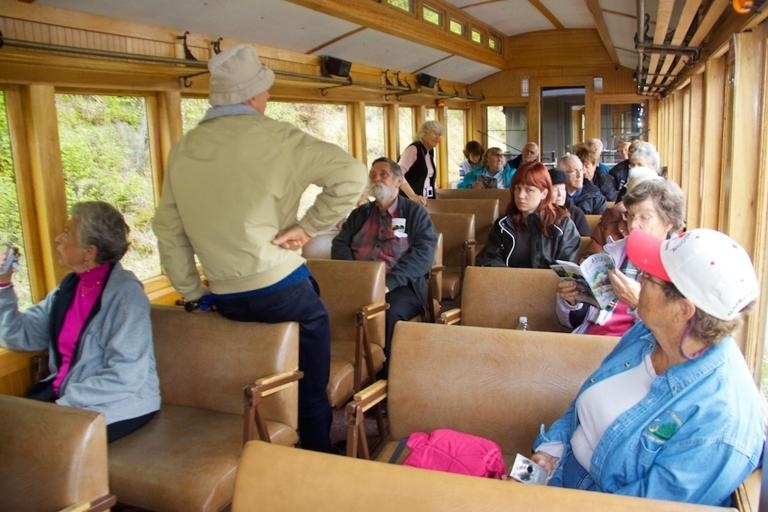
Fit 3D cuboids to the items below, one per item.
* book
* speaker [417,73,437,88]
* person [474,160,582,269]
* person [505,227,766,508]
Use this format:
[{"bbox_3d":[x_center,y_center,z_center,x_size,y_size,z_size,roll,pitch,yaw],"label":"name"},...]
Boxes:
[{"bbox_3d":[1.061,0.115,2.908,0.369,0.311,0.135,10,52,47],"label":"book"},{"bbox_3d":[0.712,-2.898,9.112,0.085,0.233,0.382,30,18,34],"label":"speaker"},{"bbox_3d":[1.149,-0.284,4.489,0.735,0.944,0.862,-11,15,-35],"label":"person"},{"bbox_3d":[1.006,0.477,2.307,0.737,1.194,0.815,9,14,-11],"label":"person"}]
